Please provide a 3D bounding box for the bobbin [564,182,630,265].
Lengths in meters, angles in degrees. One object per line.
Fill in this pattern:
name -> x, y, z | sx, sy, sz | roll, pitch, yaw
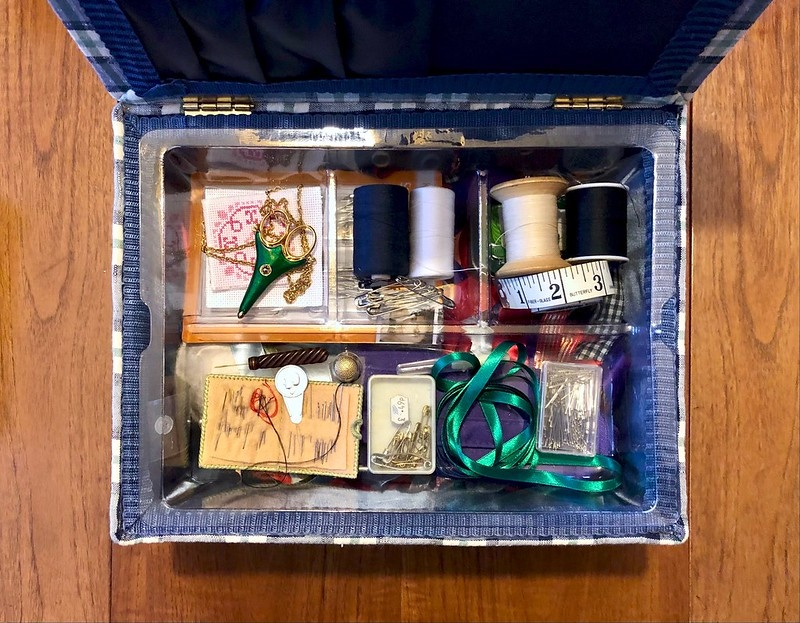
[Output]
bobbin -> 0.551, -0.250, 2.994 | 0.198, 0.202, 0.220 | 0, 88, -3

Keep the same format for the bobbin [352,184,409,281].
bobbin -> -0.054, -0.227, 2.931 | 0.150, 0.084, 0.244 | 0, 83, 0

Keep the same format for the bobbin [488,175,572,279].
bobbin -> 0.351, -0.219, 2.978 | 0.246, 0.264, 0.301 | -8, 91, -8

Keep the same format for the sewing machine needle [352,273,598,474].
sewing machine needle -> 0.214, 0.190, 2.969 | 0.699, 0.123, 0.518 | 0, 86, 4
